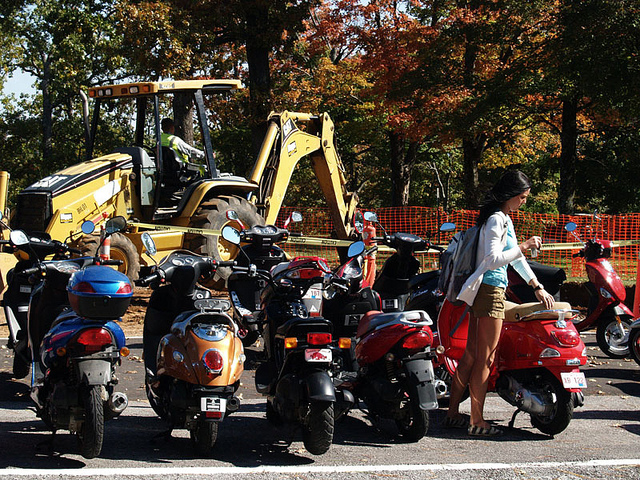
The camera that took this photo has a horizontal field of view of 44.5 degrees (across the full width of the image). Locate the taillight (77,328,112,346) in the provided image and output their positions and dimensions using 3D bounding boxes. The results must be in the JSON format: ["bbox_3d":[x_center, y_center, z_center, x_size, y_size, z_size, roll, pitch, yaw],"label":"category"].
[{"bbox_3d":[-2.108,0.918,7.364,0.289,0.157,0.041,-1,9,-15],"label":"taillight"}]

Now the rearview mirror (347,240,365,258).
[{"bbox_3d":[0.402,0.102,8.492,0.181,0.195,0.200,1,8,2],"label":"rearview mirror"}]

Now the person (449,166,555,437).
[{"bbox_3d":[1.900,0.671,8.355,0.940,2.816,0.800,3,9,15],"label":"person"}]

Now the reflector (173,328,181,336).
[{"bbox_3d":[-1.392,0.901,7.672,0.046,0.054,0.086,2,1,-8],"label":"reflector"}]

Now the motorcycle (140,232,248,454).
[{"bbox_3d":[-1.388,1.078,8.390,0.937,1.951,2.629,0,5,-24],"label":"motorcycle"}]

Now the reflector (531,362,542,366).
[{"bbox_3d":[2.266,1.297,8.171,0.108,0.045,0.006,4,9,24],"label":"reflector"}]

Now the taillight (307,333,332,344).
[{"bbox_3d":[0.004,0.954,7.582,0.230,0.108,0.050,-1,8,-13],"label":"taillight"}]

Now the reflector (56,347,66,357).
[{"bbox_3d":[-2.430,1.061,7.421,0.080,0.088,0.039,0,8,-7],"label":"reflector"}]

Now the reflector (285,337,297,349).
[{"bbox_3d":[-0.271,1.001,7.642,0.117,0.106,0.090,4,-20,-4],"label":"reflector"}]

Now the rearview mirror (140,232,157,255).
[{"bbox_3d":[-1.699,0.038,7.845,0.109,0.238,0.364,-1,8,-12],"label":"rearview mirror"}]

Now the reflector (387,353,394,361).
[{"bbox_3d":[0.733,1.199,8.023,0.064,0.077,0.019,1,8,3],"label":"reflector"}]

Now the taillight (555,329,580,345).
[{"bbox_3d":[2.606,1.016,8.191,0.284,0.139,0.129,-1,8,-14],"label":"taillight"}]

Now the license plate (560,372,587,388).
[{"bbox_3d":[2.648,1.463,8.105,0.309,0.178,0.144,-2,8,-20],"label":"license plate"}]

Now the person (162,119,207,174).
[{"bbox_3d":[-2.518,-1.827,15.371,0.668,1.072,1.096,3,8,16],"label":"person"}]

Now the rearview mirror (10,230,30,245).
[{"bbox_3d":[-3.233,-0.031,8.468,0.179,0.158,0.259,-2,8,-20],"label":"rearview mirror"}]

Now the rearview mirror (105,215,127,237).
[{"bbox_3d":[-2.216,-0.135,8.509,0.198,0.262,0.622,-1,8,-16],"label":"rearview mirror"}]

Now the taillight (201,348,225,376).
[{"bbox_3d":[-0.993,1.152,7.387,0.195,0.239,0.061,2,-9,-9],"label":"taillight"}]

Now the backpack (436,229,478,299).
[{"bbox_3d":[1.522,0.280,8.612,0.409,0.789,0.590,13,-26,-6],"label":"backpack"}]

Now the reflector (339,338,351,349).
[{"bbox_3d":[0.265,1.057,8.044,0.161,0.090,0.115,-2,-8,-5],"label":"reflector"}]

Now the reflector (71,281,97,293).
[{"bbox_3d":[-2.215,0.442,7.406,0.238,0.101,0.054,4,9,20],"label":"reflector"}]

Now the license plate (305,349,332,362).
[{"bbox_3d":[-0.009,1.118,7.533,0.249,0.120,0.079,0,8,-5],"label":"license plate"}]

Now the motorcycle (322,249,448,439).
[{"bbox_3d":[0.633,1.192,9.025,0.813,1.772,2.898,-7,5,-17],"label":"motorcycle"}]

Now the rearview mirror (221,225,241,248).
[{"bbox_3d":[-0.959,-0.042,8.596,0.187,0.249,0.622,0,8,-3],"label":"rearview mirror"}]

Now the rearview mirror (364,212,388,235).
[{"bbox_3d":[0.688,-0.144,9.476,0.100,0.388,0.205,-10,9,16],"label":"rearview mirror"}]
